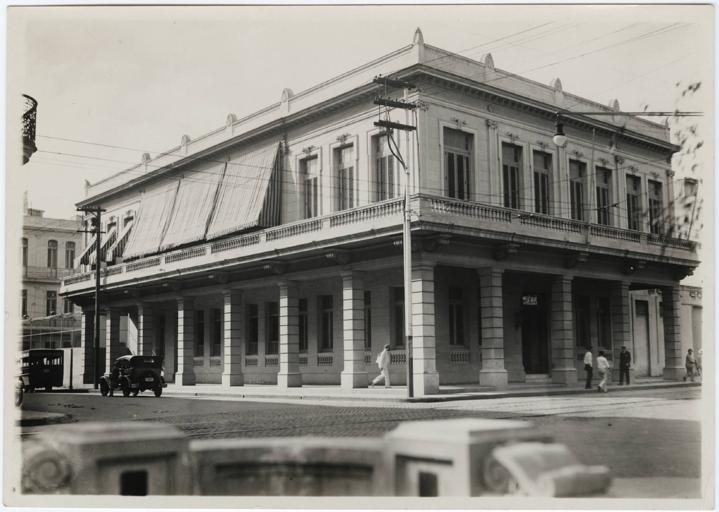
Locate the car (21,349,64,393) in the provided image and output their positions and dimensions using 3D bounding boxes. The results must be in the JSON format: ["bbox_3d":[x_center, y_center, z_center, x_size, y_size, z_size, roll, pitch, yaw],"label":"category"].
[{"bbox_3d":[-17.916,6.517,62.674,2.077,2.067,3.439,3,-11,-32],"label":"car"}]

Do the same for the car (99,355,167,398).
[{"bbox_3d":[-10.711,5.716,52.228,1.651,1.432,2.963,10,-14,-40],"label":"car"}]
